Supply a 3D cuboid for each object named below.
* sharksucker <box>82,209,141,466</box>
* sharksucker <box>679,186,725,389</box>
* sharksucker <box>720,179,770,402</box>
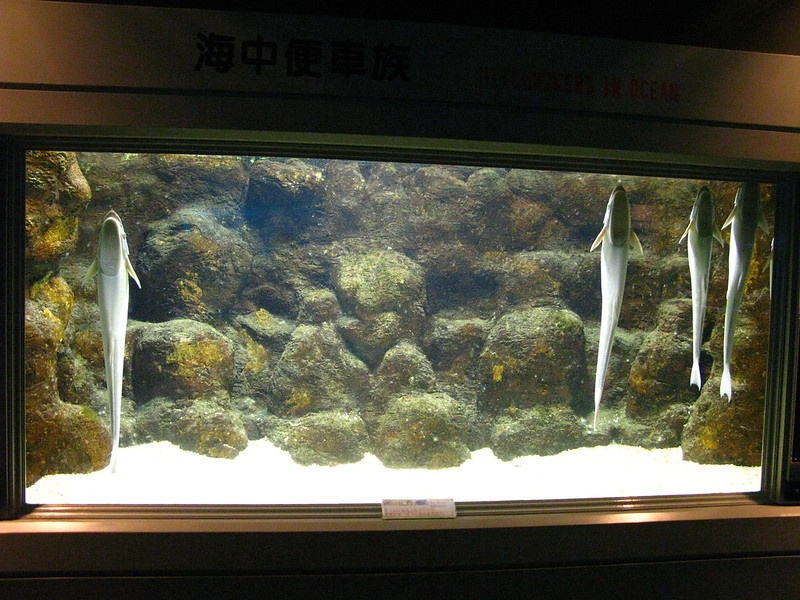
[{"bbox_3d":[-1.406,0.186,4.139,0.264,0.241,1.126,2,-89,-24],"label":"sharksucker"},{"bbox_3d":[1.534,-0.089,4.354,0.216,0.064,0.950,-6,-82,0],"label":"sharksucker"},{"bbox_3d":[1.677,-0.035,4.342,0.184,0.177,0.962,6,-81,10],"label":"sharksucker"}]
